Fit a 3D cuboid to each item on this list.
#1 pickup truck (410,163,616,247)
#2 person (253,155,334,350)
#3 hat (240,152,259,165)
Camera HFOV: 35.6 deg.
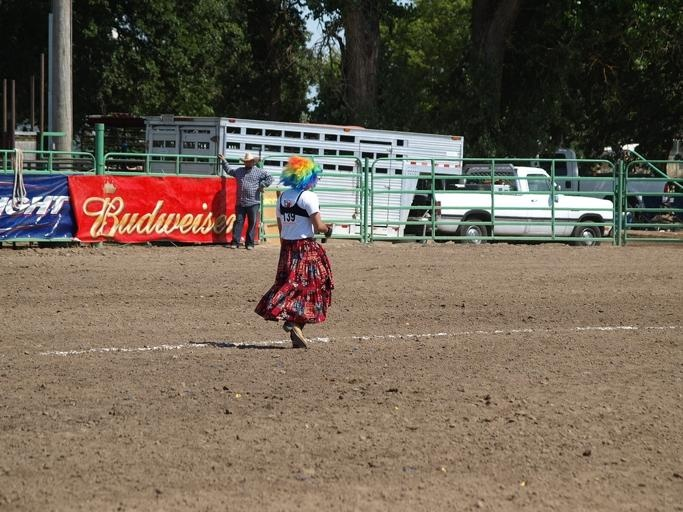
[{"bbox_3d":[4.207,-1.056,25.660,4.469,1.896,2.169,-3,5,-16],"label":"pickup truck"},{"bbox_3d":[-0.564,-0.041,13.455,0.890,2.433,0.452,2,5,-1],"label":"person"},{"bbox_3d":[-2.054,-2.130,23.211,0.411,0.207,0.508,0,-9,-3],"label":"hat"}]
